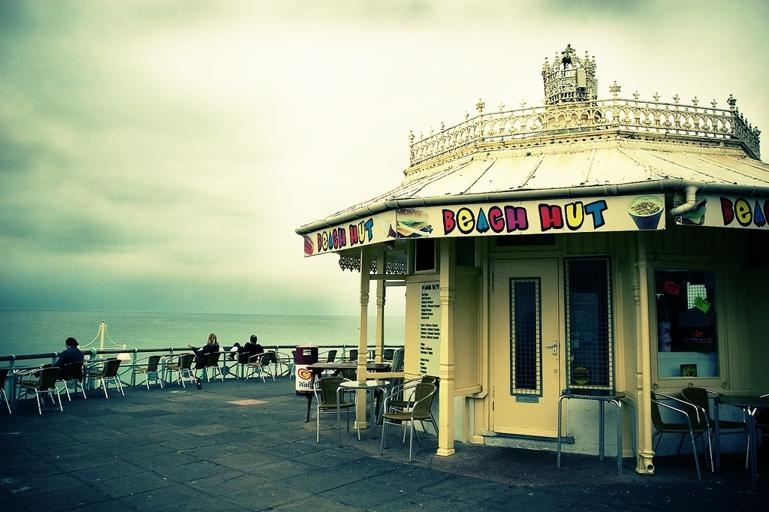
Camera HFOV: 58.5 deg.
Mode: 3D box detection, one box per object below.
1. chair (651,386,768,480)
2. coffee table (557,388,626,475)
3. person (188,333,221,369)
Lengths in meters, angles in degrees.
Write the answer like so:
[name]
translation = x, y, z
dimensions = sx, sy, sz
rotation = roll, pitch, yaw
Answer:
[chair]
translation = 6.100, 3.269, 13.085
dimensions = 2.028, 1.356, 1.870
rotation = 1, 2, 16
[coffee table]
translation = 4.005, 3.245, 13.042
dimensions = 1.458, 1.610, 1.358
rotation = -1, -5, 14
[person]
translation = -5.518, 2.918, 21.048
dimensions = 0.796, 1.087, 0.745
rotation = 0, 2, -18
